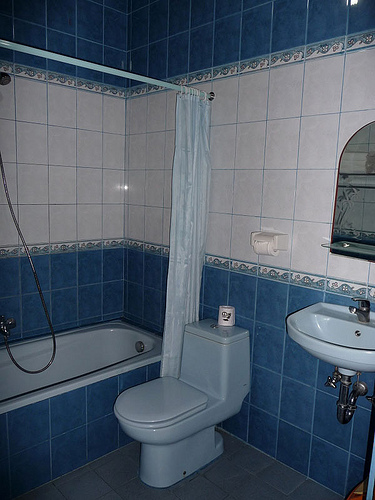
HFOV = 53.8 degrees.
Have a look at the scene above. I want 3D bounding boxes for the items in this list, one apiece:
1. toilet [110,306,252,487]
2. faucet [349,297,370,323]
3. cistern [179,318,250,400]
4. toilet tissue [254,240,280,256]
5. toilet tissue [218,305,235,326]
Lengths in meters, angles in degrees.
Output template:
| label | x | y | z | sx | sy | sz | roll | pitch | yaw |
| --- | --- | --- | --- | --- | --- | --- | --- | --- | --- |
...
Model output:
| label | x | y | z | sx | sy | sz | roll | pitch | yaw |
| --- | --- | --- | --- | --- | --- | --- | --- | --- | --- |
| toilet | -0.143 | 0.728 | 2.237 | 0.902 | 1.079 | 0.534 | -3 | 5 | -39 |
| faucet | 0.704 | 0.245 | 1.474 | 0.102 | 0.118 | 0.067 | 9 | -7 | -36 |
| cistern | 0.141 | 0.618 | 2.006 | 0.378 | 0.382 | 0.225 | 6 | 10 | 21 |
| toilet tissue | 0.391 | -0.011 | 1.800 | 0.093 | 0.085 | 0.073 | 8 | -13 | 45 |
| toilet tissue | 0.224 | 0.373 | 2.095 | 0.081 | 0.100 | 0.097 | 1 | -1 | 27 |
